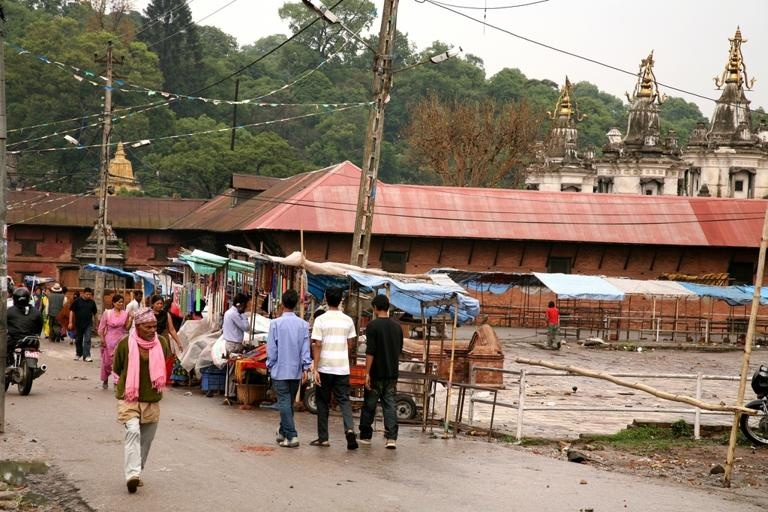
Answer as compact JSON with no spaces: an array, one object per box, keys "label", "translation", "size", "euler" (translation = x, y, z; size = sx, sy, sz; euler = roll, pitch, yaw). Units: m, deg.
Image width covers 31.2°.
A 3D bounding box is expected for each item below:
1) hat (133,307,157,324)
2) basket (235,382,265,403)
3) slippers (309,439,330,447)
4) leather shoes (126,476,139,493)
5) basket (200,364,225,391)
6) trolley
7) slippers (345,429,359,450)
[{"label":"hat","translation":[-6.866,1.729,39.514],"size":[0.623,0.477,0.254],"euler":[4,-3,-10]},{"label":"basket","translation":[-4.340,4.571,45.263],"size":[0.677,0.448,0.799],"euler":[2,-2,-30]},{"label":"slippers","translation":[-1.912,5.686,41.578],"size":[0.499,0.184,0.242],"euler":[4,0,22]},{"label":"leather shoes","translation":[-7.061,6.486,38.727],"size":[0.254,0.217,0.524],"euler":[8,-44,-13]},{"label":"basket","translation":[-5.872,4.206,46.453],"size":[0.923,1.048,1.121],"euler":[2,-6,-2]},{"label":"trolley","translation":[-0.678,4.435,44.931],"size":[3.856,1.976,1.907],"euler":[1,-6,-5]},{"label":"slippers","translation":[-0.971,5.562,41.415],"size":[0.307,0.646,0.293],"euler":[-5,8,-1]}]
